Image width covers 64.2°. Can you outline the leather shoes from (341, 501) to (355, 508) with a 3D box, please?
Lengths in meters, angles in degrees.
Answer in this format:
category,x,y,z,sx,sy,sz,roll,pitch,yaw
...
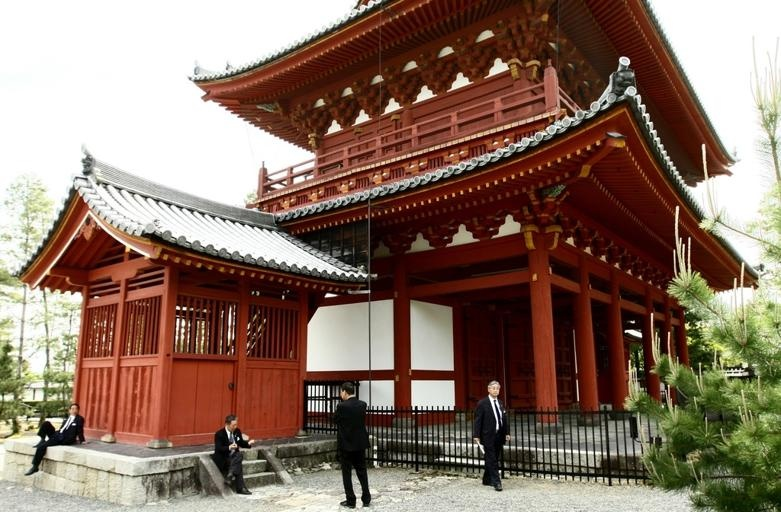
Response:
category,x,y,z,sx,sy,sz,roll,pitch,yaw
leather shoes,-0.742,4.311,10.910,0.226,0.088,0.113,1,-5,29

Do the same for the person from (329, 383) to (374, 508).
category,x,y,z,sx,sy,sz,roll,pitch,yaw
person,-0.659,3.343,11.048,0.621,2.061,0.724,-1,6,-6

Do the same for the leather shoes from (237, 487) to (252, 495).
category,x,y,z,sx,sy,sz,roll,pitch,yaw
leather shoes,-2.702,4.332,11.548,0.225,0.081,0.121,-4,-12,24

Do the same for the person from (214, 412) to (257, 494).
category,x,y,z,sx,sy,sz,roll,pitch,yaw
person,-2.966,3.736,11.705,0.618,1.376,0.664,-3,7,-30

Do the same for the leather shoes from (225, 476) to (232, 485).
category,x,y,z,sx,sy,sz,roll,pitch,yaw
leather shoes,-3.026,4.172,11.613,0.123,0.150,0.127,-13,-25,25

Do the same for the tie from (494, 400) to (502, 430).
category,x,y,z,sx,sy,sz,roll,pitch,yaw
tie,2.062,3.009,11.872,0.157,0.475,0.256,0,6,-1

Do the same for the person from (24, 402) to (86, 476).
category,x,y,z,sx,sy,sz,roll,pitch,yaw
person,-6.708,3.621,12.492,0.845,1.304,0.830,-1,-19,44

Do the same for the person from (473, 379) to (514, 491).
category,x,y,z,sx,sy,sz,roll,pitch,yaw
person,1.931,3.426,11.879,0.662,2.033,0.691,1,6,12

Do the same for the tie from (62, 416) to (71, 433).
category,x,y,z,sx,sy,sz,roll,pitch,yaw
tie,-6.600,3.393,12.636,0.163,0.285,0.075,24,-9,47
